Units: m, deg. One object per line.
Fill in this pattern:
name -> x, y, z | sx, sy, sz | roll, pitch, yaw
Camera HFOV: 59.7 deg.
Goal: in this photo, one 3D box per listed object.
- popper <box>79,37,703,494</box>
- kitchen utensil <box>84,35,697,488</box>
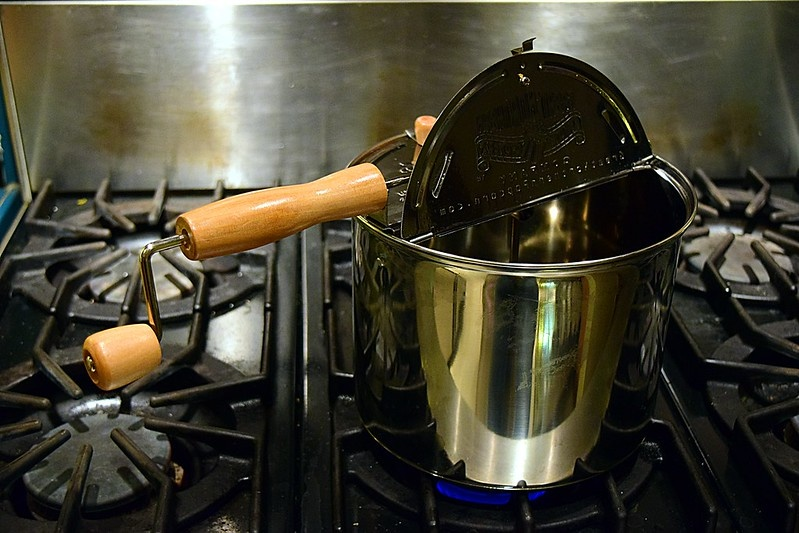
popper -> 0.010, 0.007, 0.723 | 0.575, 0.384, 0.315 | -11, 29, -18
kitchen utensil -> 0.018, 0.016, 0.739 | 0.577, 0.352, 0.316 | -8, 28, -11
